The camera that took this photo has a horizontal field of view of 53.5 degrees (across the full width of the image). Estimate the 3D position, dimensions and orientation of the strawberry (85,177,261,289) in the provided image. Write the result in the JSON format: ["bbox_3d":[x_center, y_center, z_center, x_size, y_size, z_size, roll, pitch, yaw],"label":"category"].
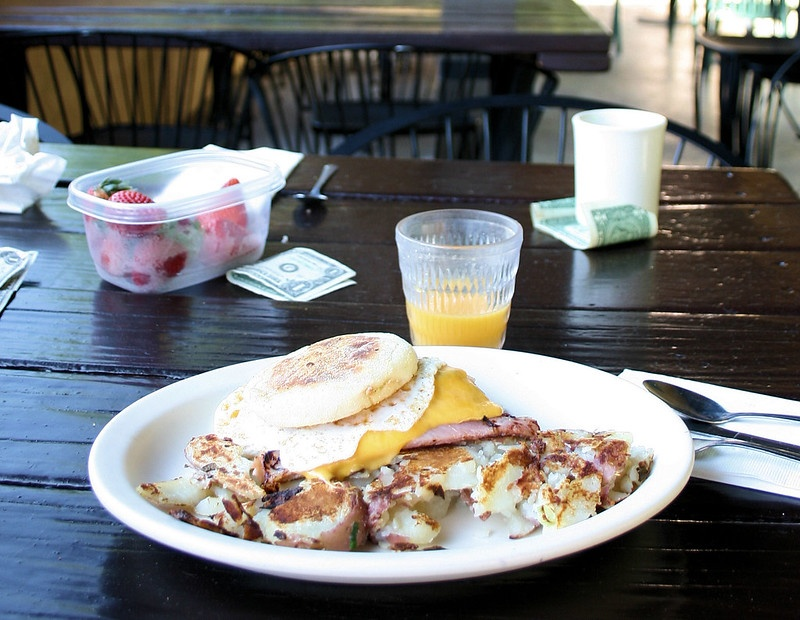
[{"bbox_3d":[-0.302,-0.123,1.098,0.196,0.074,0.152,-19,33,-36],"label":"strawberry"}]

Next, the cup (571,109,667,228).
[{"bbox_3d":[0.350,-0.238,1.267,0.150,0.138,0.132,-2,28,5],"label":"cup"}]

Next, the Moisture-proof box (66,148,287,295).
[{"bbox_3d":[-0.311,-0.129,1.137,0.211,0.125,0.287,25,36,36],"label":"Moisture-proof box"}]

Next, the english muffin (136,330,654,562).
[{"bbox_3d":[-0.010,0.073,0.666,0.270,0.071,0.248,-6,12,-34],"label":"english muffin"}]

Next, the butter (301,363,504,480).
[{"bbox_3d":[-0.002,0.090,0.718,0.141,0.029,0.090,-19,16,-21],"label":"butter"}]

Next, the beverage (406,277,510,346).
[{"bbox_3d":[0.072,-0.005,0.963,0.091,0.060,0.094,13,17,43],"label":"beverage"}]

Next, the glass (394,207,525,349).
[{"bbox_3d":[0.090,-0.044,1.000,0.187,0.177,0.167,7,32,12],"label":"glass"}]

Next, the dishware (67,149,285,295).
[{"bbox_3d":[-0.310,-0.129,1.139,0.209,0.125,0.287,24,36,37],"label":"dishware"}]

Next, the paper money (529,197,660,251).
[{"bbox_3d":[0.294,-0.155,1.231,0.113,0.047,0.135,-10,23,-28],"label":"paper money"}]
